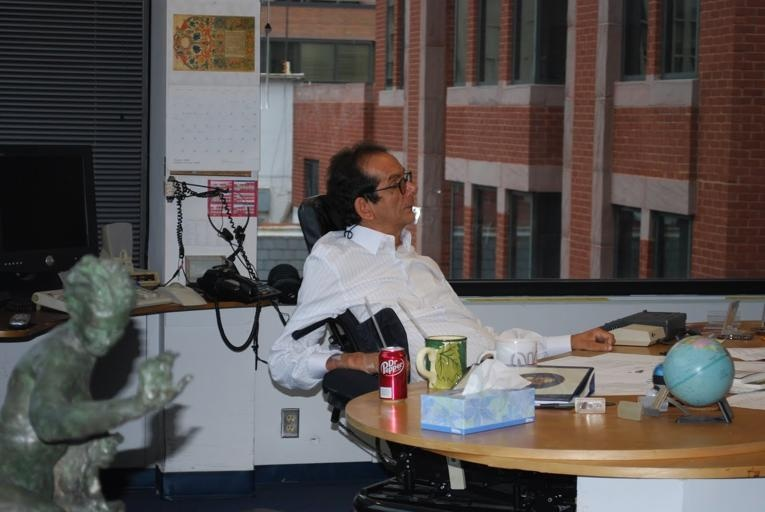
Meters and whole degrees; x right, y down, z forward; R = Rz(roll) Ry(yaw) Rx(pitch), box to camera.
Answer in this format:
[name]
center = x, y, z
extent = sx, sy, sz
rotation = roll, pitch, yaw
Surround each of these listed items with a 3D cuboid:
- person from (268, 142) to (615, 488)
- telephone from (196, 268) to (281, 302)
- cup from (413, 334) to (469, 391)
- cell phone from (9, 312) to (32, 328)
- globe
[person]
center = 0.023, 0.081, 3.644
extent = 0.817, 1.572, 0.657
rotation = 1, 1, 33
[telephone]
center = -0.669, 0.107, 4.327
extent = 0.374, 0.163, 0.359
rotation = -1, 8, -43
[cup]
center = 0.205, 0.360, 3.037
extent = 0.202, 0.180, 0.125
rotation = -10, 12, -43
[cell phone]
center = -1.478, 0.258, 3.609
extent = 0.047, 0.024, 0.085
rotation = 2, 12, -6
[globe]
center = 0.996, 0.355, 2.799
extent = 0.200, 0.261, 0.218
rotation = 8, 11, 26
